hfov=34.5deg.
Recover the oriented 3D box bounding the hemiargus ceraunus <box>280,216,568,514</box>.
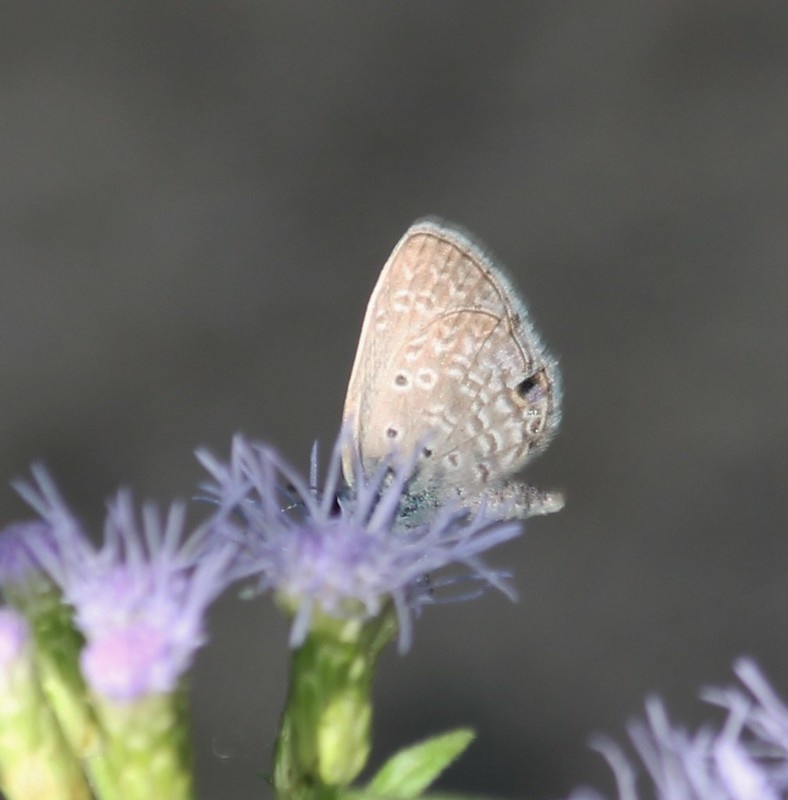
[{"bbox_3d":[0.036,-0.023,1.248,0.255,0.259,0.309,4,2,-2],"label":"hemiargus ceraunus"}]
